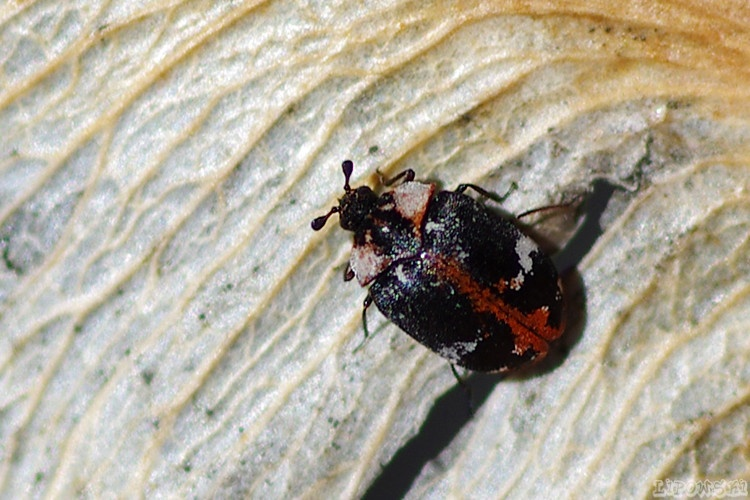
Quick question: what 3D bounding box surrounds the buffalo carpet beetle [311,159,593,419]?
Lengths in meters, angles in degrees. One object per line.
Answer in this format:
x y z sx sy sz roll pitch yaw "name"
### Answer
0.489 0.147 7.841 1.578 0.232 0.957 29 87 13 "buffalo carpet beetle"
